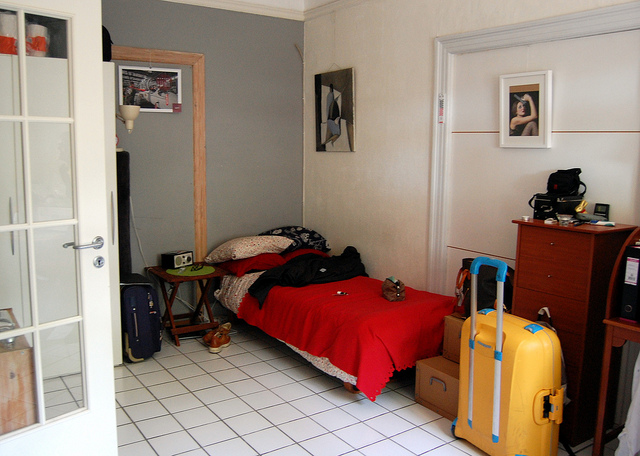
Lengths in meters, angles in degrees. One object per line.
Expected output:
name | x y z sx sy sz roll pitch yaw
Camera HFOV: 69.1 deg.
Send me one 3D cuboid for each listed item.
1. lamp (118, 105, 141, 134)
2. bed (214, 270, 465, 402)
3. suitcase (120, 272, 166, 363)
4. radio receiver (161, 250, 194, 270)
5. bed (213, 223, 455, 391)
lamp | -1.790 -1.030 4.401 0.222 0.246 0.216 0 7 -19
bed | 0.054 0.775 4.048 0.926 0.364 1.472 -9 14 -39
suitcase | -1.633 0.864 4.271 0.308 0.716 0.232 -5 13 -25
radio receiver | -1.489 0.270 4.866 0.172 0.187 0.305 4 7 40
bed | -0.019 0.608 4.257 1.191 0.524 1.959 -15 30 -38
